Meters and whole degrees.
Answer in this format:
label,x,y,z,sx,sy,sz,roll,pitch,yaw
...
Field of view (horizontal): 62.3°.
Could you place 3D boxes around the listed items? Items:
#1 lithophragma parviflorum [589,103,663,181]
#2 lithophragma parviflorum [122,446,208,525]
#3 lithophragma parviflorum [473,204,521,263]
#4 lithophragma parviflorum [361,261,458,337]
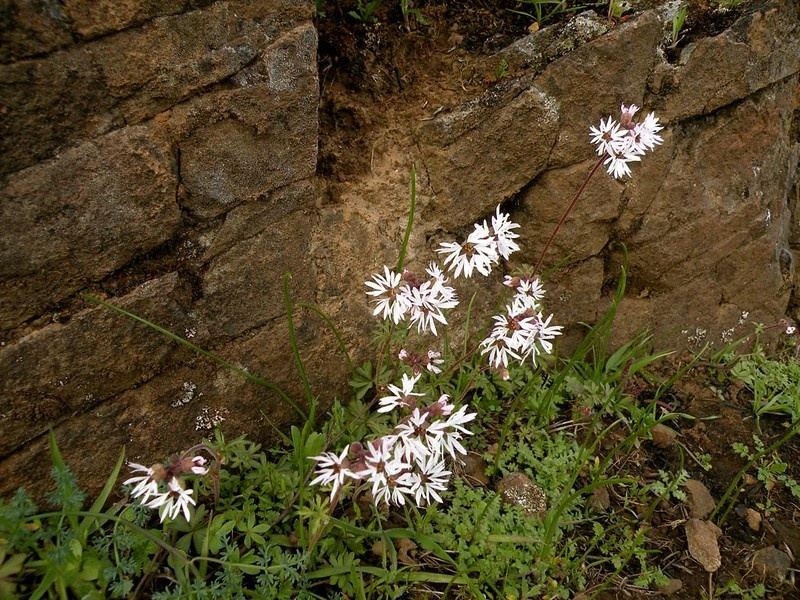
label,x,y,z,sx,sy,sz,roll,pitch,yaw
lithophragma parviflorum,1.404,-1.028,4.162,0.394,0.409,0.229,-38,18,20
lithophragma parviflorum,-1.251,1.003,3.491,0.348,0.317,0.267,-34,1,-42
lithophragma parviflorum,0.562,-0.379,3.866,0.358,0.408,0.195,-4,16,-8
lithophragma parviflorum,0.056,-0.005,3.785,0.431,0.521,0.331,-8,4,2
